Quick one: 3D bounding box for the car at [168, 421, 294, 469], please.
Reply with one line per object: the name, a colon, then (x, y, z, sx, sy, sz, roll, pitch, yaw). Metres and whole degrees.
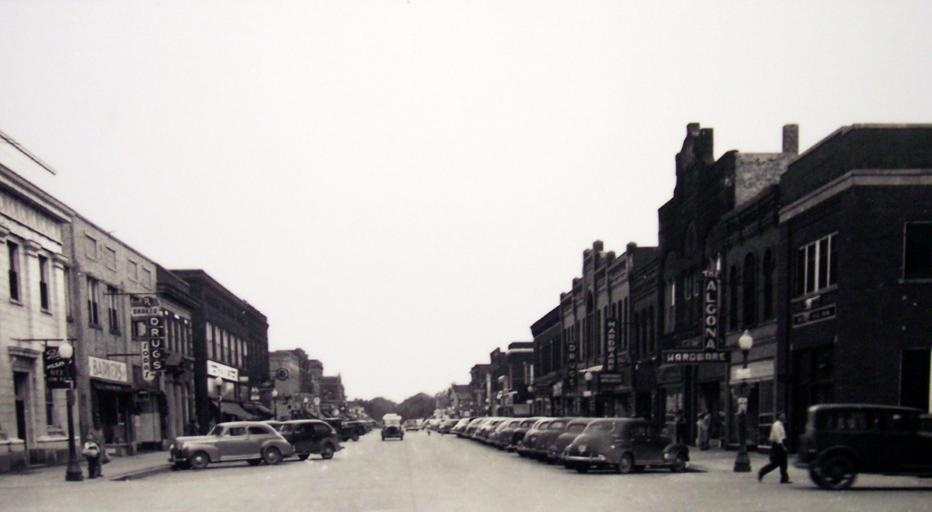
car: (-12.976, 10.600, 46.542, 5.884, 2.684, 1.440, 4, -19, -14)
